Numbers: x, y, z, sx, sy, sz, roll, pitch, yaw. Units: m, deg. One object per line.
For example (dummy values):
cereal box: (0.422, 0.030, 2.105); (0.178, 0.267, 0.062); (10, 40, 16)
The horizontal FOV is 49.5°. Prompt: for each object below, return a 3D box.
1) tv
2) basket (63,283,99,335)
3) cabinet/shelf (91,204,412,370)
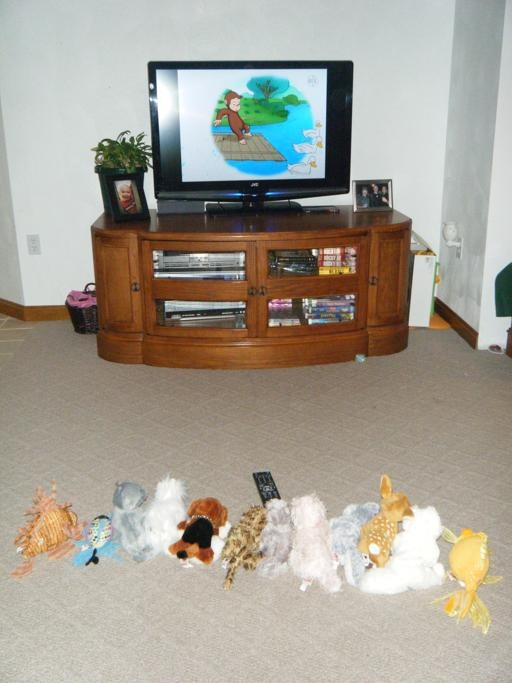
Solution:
tv: (-0.028, -1.178, 3.129); (1.007, 0.650, 0.244); (-3, 27, -4)
basket: (-1.042, -0.201, 3.491); (0.292, 0.285, 0.343); (0, 9, 1)
cabinet/shelf: (-0.018, -0.282, 3.085); (1.766, 0.785, 0.542); (-7, 21, -12)
